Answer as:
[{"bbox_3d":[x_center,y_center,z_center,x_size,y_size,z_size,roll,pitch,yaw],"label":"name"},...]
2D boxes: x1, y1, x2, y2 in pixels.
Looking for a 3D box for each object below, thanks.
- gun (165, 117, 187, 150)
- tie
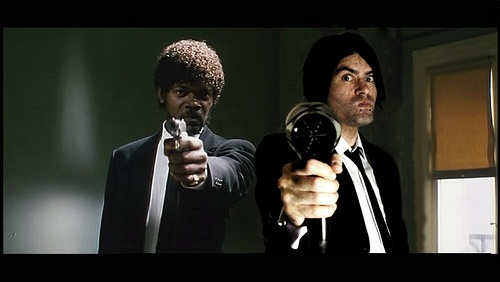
[{"bbox_3d":[-0.487,-0.047,3.569,0.161,0.187,0.086,4,2,-5],"label":"gun"},{"bbox_3d":[0.805,0.398,3.652,0.245,0.718,0.224,0,2,1],"label":"tie"}]
